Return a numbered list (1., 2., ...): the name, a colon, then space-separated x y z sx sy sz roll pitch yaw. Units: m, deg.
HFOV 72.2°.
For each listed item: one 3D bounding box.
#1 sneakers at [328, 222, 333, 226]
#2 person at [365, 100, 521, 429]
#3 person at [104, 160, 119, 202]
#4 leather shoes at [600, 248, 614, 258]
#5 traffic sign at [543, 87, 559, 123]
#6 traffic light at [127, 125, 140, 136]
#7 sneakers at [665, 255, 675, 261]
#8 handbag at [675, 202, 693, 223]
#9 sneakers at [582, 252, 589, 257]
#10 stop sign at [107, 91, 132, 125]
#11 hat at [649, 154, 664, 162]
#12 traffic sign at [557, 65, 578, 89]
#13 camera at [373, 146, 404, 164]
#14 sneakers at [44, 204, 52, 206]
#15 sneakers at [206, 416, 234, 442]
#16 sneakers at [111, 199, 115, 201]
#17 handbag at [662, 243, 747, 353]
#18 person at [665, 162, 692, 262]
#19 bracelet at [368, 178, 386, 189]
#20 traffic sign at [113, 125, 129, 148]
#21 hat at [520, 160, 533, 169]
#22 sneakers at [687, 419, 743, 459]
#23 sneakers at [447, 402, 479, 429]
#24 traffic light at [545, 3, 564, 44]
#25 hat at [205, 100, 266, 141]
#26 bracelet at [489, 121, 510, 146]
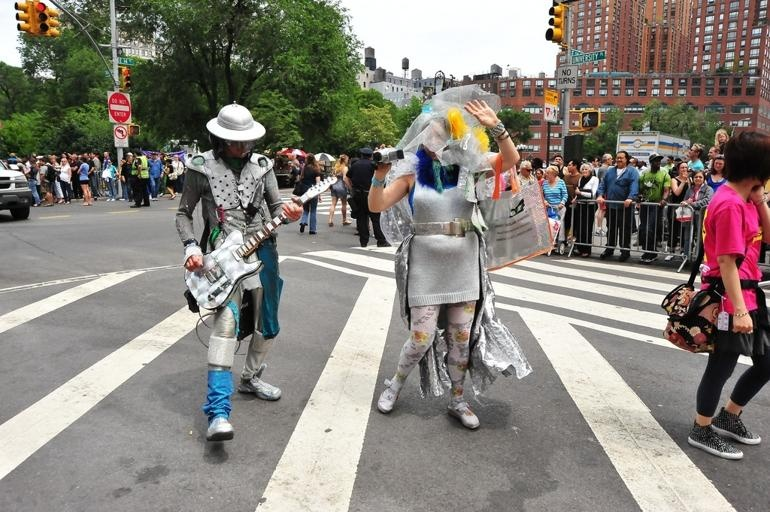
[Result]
1. sneakers: -1.756 -1.025 16.813 0.126 0.102 0.303 5 2 -11
2. person: 0.579 0.061 4.738 1.255 2.821 0.575 3 13 10
3. person: -13.871 -3.859 26.623 0.561 2.034 1.487 -6 15 -28
4. leather shoes: 5.287 -0.058 12.661 0.162 0.190 0.468 3 4 42
5. traffic sign: 5.399 -4.920 17.265 0.023 0.997 0.997 4 9 44
6. traffic light: -12.040 -6.058 25.288 0.369 0.427 1.219 -8 16 -31
7. sneakers: 6.470 0.048 12.050 0.117 0.148 0.347 0 0 36
8. handbag: 6.290 -0.919 11.110 0.190 0.417 0.412 8 0 -23
9. sneakers: 4.818 -0.045 12.763 0.113 0.131 0.335 0 -1 18
10. stop sign: -12.441 -6.935 24.665 0.927 1.445 0.778 -8 16 -32
11. hat: 6.400 -2.334 12.635 0.237 0.134 0.336 -1 4 -2
12. traffic sign: 5.582 -5.513 16.227 0.649 0.738 0.098 14 14 43
13. camera: 0.021 -0.821 4.289 0.123 0.087 0.214 23 26 36
14. sneakers: -15.156 -2.280 23.682 0.418 0.165 0.144 0 6 25
15. sneakers: -1.318 1.373 4.204 0.129 0.134 0.297 2 -19 -23
16. sneakers: -13.696 -2.808 26.501 0.354 0.153 0.121 9 9 40
17. handbag: 2.670 0.343 4.497 0.389 0.934 0.445 15 -1 -11
18. person: 6.463 -0.980 11.462 0.598 2.085 0.631 -8 9 -31
19. bracelet: -0.062 -0.608 4.466 0.098 0.080 0.121 0 4 2
20. traffic sign: -12.612 -5.757 25.256 0.617 1.065 0.837 -5 15 -23
21. hat: 2.917 -1.887 10.907 0.281 0.208 0.369 -1 8 -5
22. sneakers: 2.770 1.557 4.429 0.182 0.192 0.427 6 1 -29
23. sneakers: 0.707 1.411 4.805 0.142 0.121 0.308 -15 22 -26
24. traffic light: 4.941 -6.766 15.330 0.423 1.211 1.310 7 15 25
25. hat: -1.335 -1.221 4.719 0.520 0.217 0.539 18 34 14
26. bracelet: 0.965 -1.052 4.535 0.205 0.155 0.112 45 -9 -26
